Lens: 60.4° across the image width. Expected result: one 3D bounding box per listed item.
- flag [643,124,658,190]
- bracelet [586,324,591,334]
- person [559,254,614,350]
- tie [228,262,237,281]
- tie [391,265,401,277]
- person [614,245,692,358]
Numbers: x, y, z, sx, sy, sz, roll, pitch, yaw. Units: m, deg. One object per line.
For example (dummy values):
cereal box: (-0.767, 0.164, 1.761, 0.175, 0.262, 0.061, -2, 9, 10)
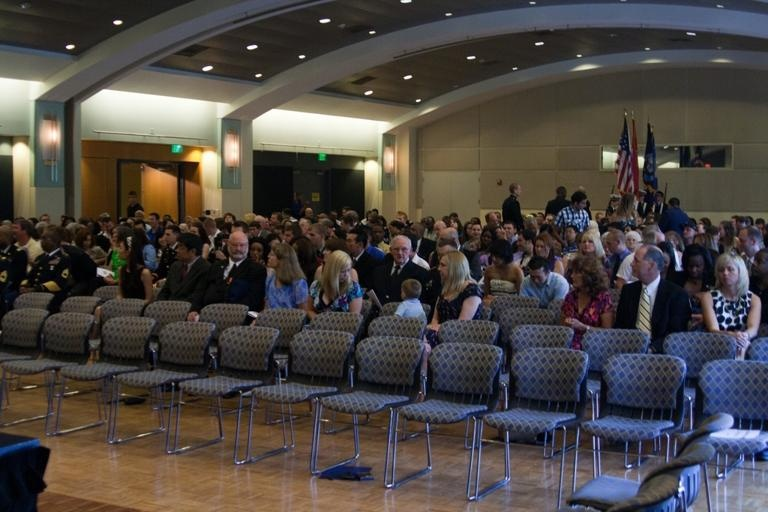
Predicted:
flag: (8.214, -3.059, 20.395, 0.357, 2.029, 1.520, 2, 7, 21)
bracelet: (2.224, 0.787, 7.213, 0.058, 0.085, 0.029, -2, -9, 29)
person: (2.356, 0.577, 7.724, 0.619, 1.216, 0.612, 3, 2, 31)
tie: (-2.126, 0.200, 9.223, 0.068, 0.204, 0.143, 12, -4, 5)
tie: (0.150, 0.204, 9.247, 0.095, 0.139, 0.053, -1, -25, 27)
person: (3.028, 0.512, 7.575, 0.787, 1.198, 0.872, -6, 5, -37)
